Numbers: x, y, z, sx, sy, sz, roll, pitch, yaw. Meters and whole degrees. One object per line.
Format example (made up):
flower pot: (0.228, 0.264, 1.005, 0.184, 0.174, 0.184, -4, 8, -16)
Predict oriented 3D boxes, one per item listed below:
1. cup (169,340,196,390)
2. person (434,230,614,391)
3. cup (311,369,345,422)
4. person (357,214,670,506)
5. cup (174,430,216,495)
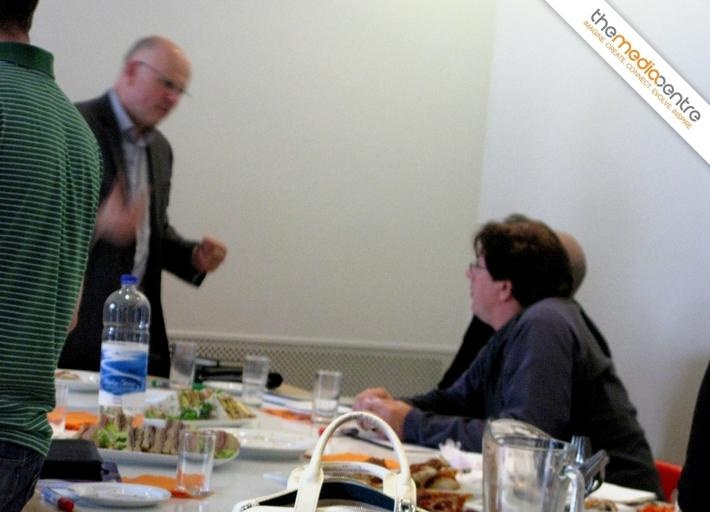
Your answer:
cup: (-0.556, 0.365, 1.937, 0.087, 0.160, 0.092, 2, -3, 0)
person: (0.654, 0.283, 2.577, 0.683, 0.904, 0.794, 1, -17, 5)
cup: (-0.081, 0.440, 1.828, 0.091, 0.151, 0.090, 9, -5, 1)
person: (0.471, 0.406, 2.160, 0.885, 1.044, 0.751, 7, -18, 5)
cup: (-0.314, 0.410, 1.194, 0.072, 0.124, 0.073, 1, -13, 0)
